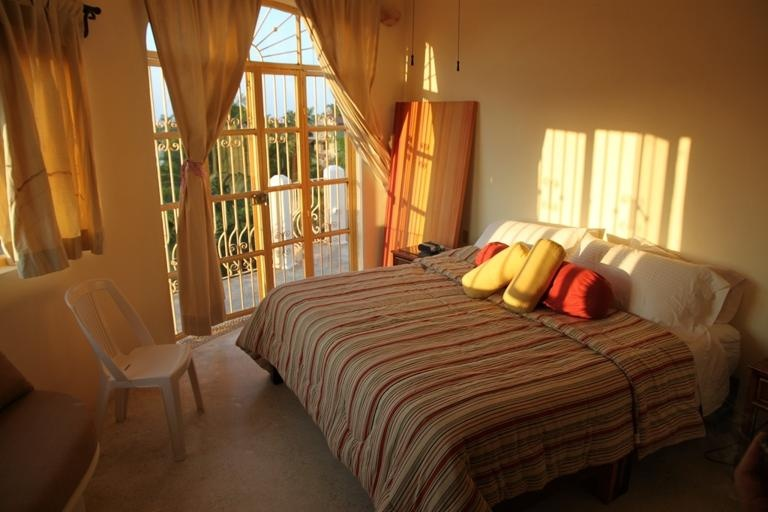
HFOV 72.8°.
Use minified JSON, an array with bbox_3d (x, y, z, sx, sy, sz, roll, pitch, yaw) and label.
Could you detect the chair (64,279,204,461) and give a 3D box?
[{"bbox_3d":[-1.709,0.761,3.656,0.740,1.086,0.588,4,16,-2],"label":"chair"}]
